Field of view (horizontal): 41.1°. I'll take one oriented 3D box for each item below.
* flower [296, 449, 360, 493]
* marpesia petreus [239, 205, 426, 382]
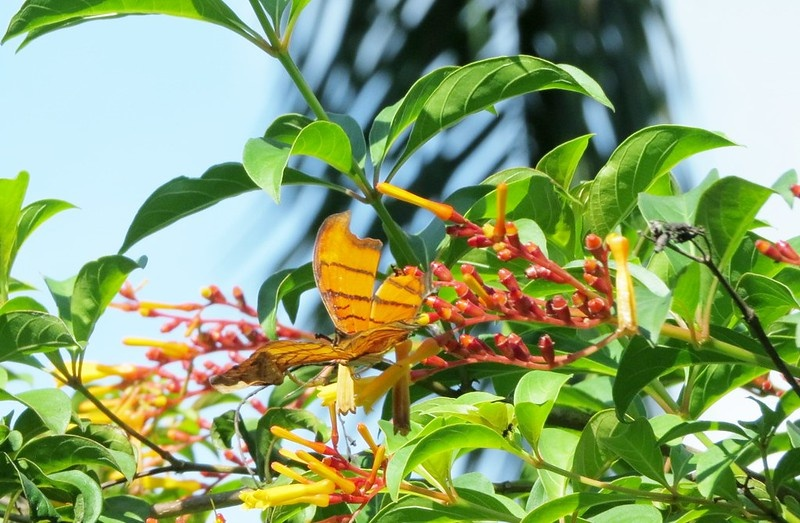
[{"bbox_3d":[-0.235,0.689,3.542,0.071,0.092,0.325,19,-19,-23],"label":"flower"},{"bbox_3d":[-0.173,0.238,3.601,0.528,0.340,0.654,-27,-48,3],"label":"marpesia petreus"}]
